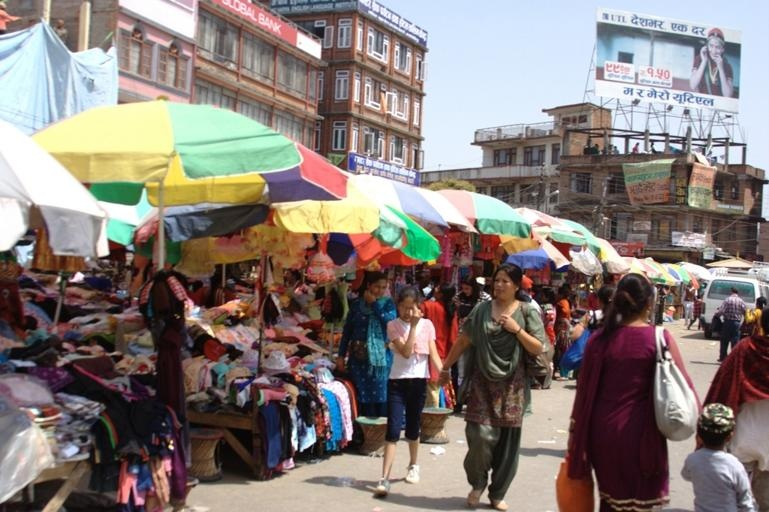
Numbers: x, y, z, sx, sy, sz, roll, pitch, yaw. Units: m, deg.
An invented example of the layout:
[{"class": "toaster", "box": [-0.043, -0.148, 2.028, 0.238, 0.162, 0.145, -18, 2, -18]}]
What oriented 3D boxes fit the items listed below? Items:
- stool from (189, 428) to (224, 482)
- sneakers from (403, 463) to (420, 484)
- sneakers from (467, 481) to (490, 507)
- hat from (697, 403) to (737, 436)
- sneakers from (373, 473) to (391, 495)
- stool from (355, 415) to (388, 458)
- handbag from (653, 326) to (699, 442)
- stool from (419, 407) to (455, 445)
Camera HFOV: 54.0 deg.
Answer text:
[{"class": "stool", "box": [-2.105, 2.335, 8.968, 0.505, 0.537, 0.501, -1, 5, -20]}, {"class": "sneakers", "box": [0.328, 2.634, 9.121, 0.145, 0.138, 0.363, -2, -17, 8]}, {"class": "sneakers", "box": [1.030, 2.636, 8.388, 0.148, 0.369, 0.141, 11, 10, -1]}, {"class": "hat", "box": [2.996, 1.472, 6.833, 0.289, 0.235, 0.196, 2, -1, 20]}, {"class": "sneakers", "box": [-0.031, 2.636, 8.711, 0.142, 0.169, 0.387, 0, -17, 4]}, {"class": "stool", "box": [-0.123, 2.460, 10.198, 0.490, 0.426, 0.512, -5, -17, 30]}, {"class": "handbag", "box": [2.632, 1.156, 6.804, 0.388, 0.986, 0.262, 2, -1, 21]}, {"class": "stool", "box": [0.674, 2.473, 10.950, 0.555, 0.427, 0.581, -2, -8, 16]}]
